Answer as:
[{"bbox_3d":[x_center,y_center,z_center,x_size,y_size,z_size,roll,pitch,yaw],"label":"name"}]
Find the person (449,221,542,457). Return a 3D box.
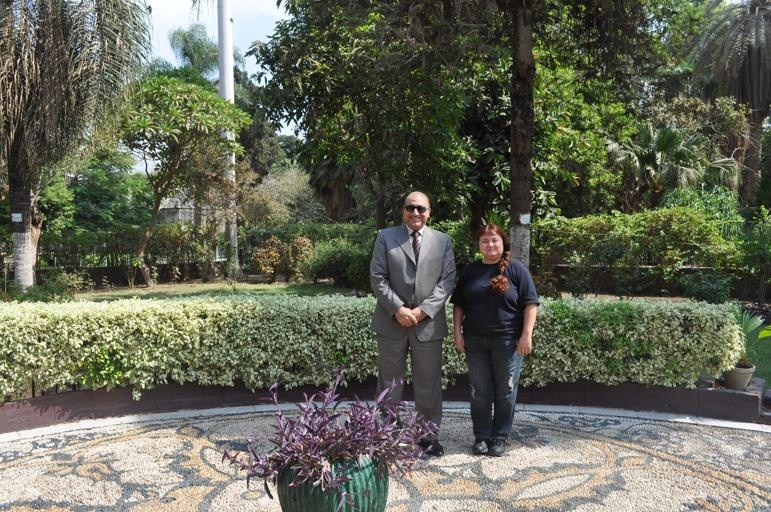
[{"bbox_3d":[1.448,1.113,9.852,1.114,3.062,0.384,0,-2,6],"label":"person"}]
